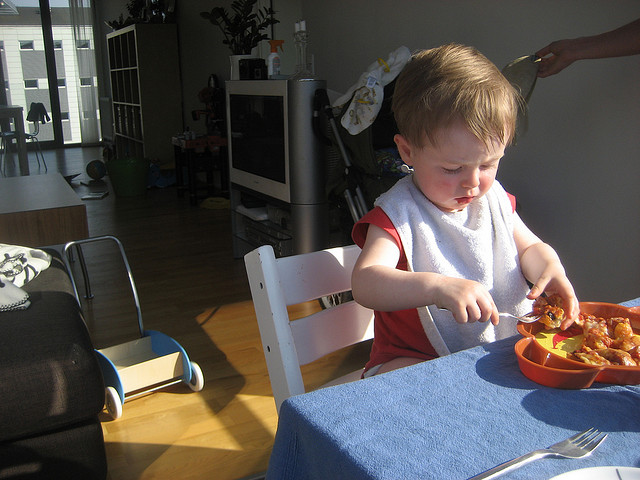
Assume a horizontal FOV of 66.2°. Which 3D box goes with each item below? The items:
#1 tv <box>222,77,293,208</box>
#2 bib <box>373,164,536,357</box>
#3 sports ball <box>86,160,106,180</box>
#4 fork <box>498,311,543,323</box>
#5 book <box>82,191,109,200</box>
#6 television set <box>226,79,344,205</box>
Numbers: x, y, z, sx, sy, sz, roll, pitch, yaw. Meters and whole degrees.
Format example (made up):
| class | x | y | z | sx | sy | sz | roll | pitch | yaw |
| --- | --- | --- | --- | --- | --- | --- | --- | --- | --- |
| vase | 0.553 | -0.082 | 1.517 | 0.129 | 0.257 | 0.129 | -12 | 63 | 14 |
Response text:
| class | x | y | z | sx | sy | sz | roll | pitch | yaw |
| --- | --- | --- | --- | --- | --- | --- | --- | --- | --- |
| tv | -0.255 | -0.688 | 3.306 | 0.440 | 0.749 | 0.844 | -14 | 22 | -36 |
| bib | 0.298 | 0.023 | 1.074 | 0.274 | 0.425 | 0.097 | -20 | 5 | -6 |
| sports ball | -2.863 | -0.901 | 6.280 | 0.205 | 0.250 | 0.173 | -10 | 16 | -26 |
| fork | 0.350 | 0.135 | 0.865 | 0.073 | 0.013 | 0.026 | 5 | 22 | -24 |
| book | -2.562 | -0.513 | 5.602 | 0.217 | 0.057 | 0.224 | 1 | 16 | -3 |
| television set | -0.222 | -0.677 | 3.288 | 0.552 | 0.779 | 0.972 | -15 | 23 | -39 |
